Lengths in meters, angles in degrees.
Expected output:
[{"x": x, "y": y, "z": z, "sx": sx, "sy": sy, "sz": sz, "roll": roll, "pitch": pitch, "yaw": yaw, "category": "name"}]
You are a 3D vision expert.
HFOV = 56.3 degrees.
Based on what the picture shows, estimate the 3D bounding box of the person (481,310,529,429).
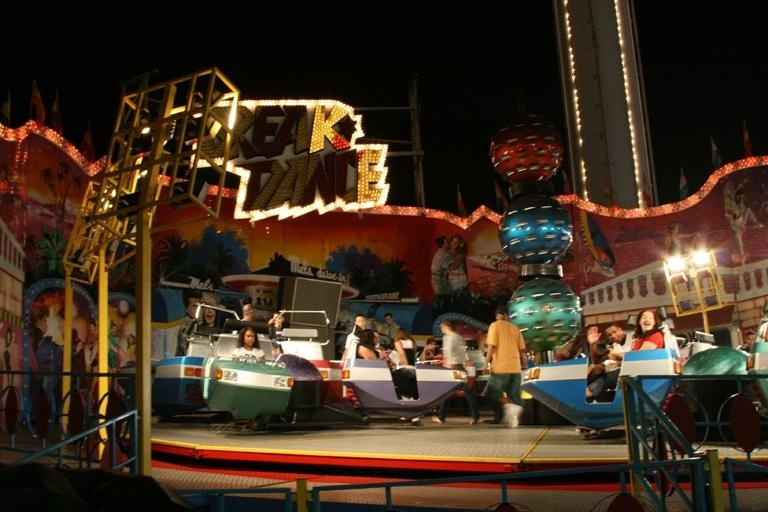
[{"x": 1.970, "y": 1.763, "z": 11.497, "sx": 0.629, "sy": 1.931, "sz": 0.849, "roll": -2, "pitch": -11, "yaw": 8, "category": "person"}]
